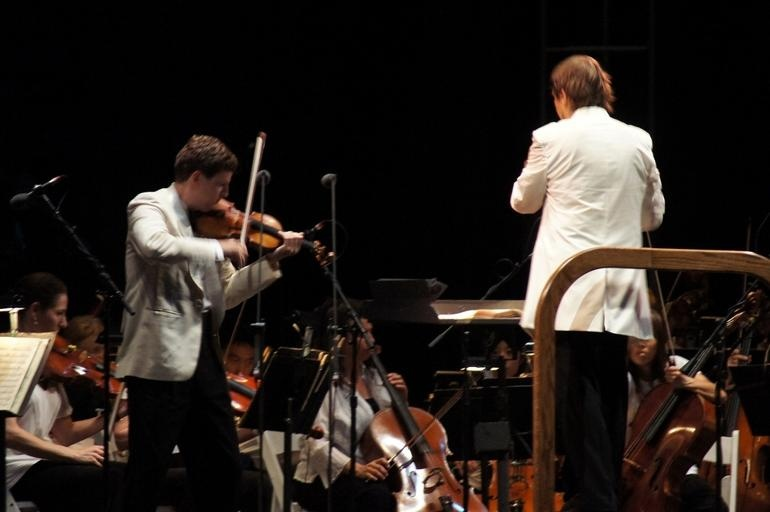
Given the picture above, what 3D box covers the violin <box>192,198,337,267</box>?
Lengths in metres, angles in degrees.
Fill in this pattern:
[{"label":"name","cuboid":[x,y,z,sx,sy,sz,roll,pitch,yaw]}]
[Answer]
[{"label":"violin","cuboid":[-0.836,-0.153,5.069,0.948,0.248,0.371,19,30,-6]}]
